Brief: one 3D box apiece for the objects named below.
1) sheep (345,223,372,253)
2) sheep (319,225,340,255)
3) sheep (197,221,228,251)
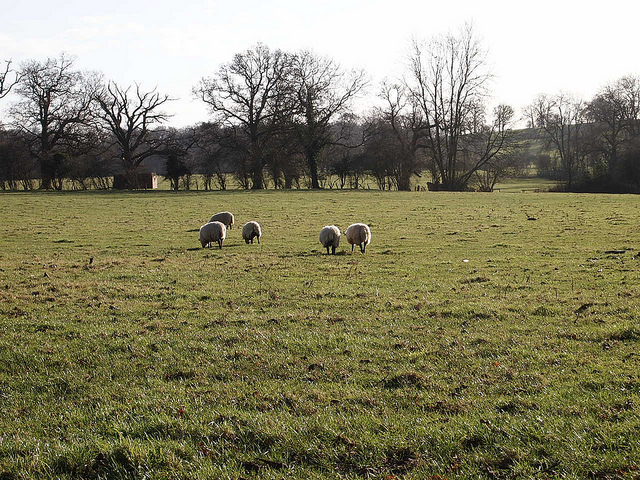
[{"bbox_3d":[1.833,-0.162,37.927,0.985,1.563,2.546,0,3,-12],"label":"sheep"},{"bbox_3d":[0.501,-0.045,37.014,0.808,1.198,1.182,-3,9,-16],"label":"sheep"},{"bbox_3d":[-5.642,-0.196,40.191,1.968,1.393,0.834,-7,2,45],"label":"sheep"}]
